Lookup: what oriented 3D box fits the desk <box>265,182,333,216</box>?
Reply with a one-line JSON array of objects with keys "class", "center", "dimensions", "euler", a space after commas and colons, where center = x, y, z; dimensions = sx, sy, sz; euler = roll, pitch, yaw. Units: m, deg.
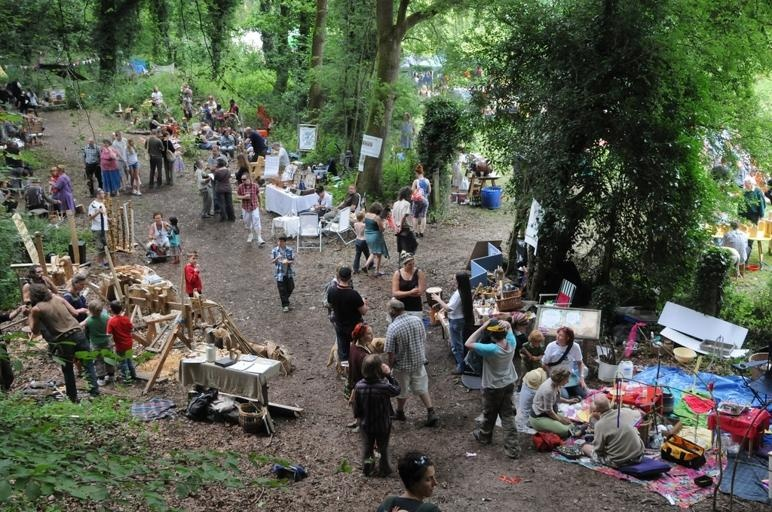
[{"class": "desk", "center": [-2.921, -1.863, 22.064], "dimensions": [1.227, 0.857, 1.764], "euler": [-16, 29, -37]}]

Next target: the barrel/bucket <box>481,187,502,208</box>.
[{"class": "barrel/bucket", "center": [4.031, -2.280, 25.315], "dimensions": [0.704, 0.640, 0.845], "euler": [-1, 8, 2]}]

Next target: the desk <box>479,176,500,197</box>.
[{"class": "desk", "center": [3.945, -2.723, 25.410], "dimensions": [0.858, 0.793, 0.841], "euler": [-1, 7, 2]}]

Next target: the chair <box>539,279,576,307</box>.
[{"class": "chair", "center": [4.033, 0.919, 15.544], "dimensions": [0.847, 0.604, 1.329], "euler": [7, 12, 16]}]

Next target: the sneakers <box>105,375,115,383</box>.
[{"class": "sneakers", "center": [-5.753, 2.544, 13.749], "dimensions": [0.218, 0.171, 0.215], "euler": [-2, 13, -20]}]

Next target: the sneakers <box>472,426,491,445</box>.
[{"class": "sneakers", "center": [1.774, 3.296, 12.180], "dimensions": [0.169, 0.193, 0.428], "euler": [-4, 15, -15]}]

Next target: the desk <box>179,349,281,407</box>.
[{"class": "desk", "center": [-3.031, 2.263, 12.765], "dimensions": [1.542, 0.488, 0.912], "euler": [7, 23, 14]}]

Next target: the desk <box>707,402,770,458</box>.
[{"class": "desk", "center": [6.225, 3.012, 11.758], "dimensions": [1.060, 0.503, 1.063], "euler": [1, 9, 31]}]

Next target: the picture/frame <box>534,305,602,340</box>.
[{"class": "picture/frame", "center": [3.821, 1.408, 13.923], "dimensions": [0.968, 0.063, 0.565], "euler": [5, 51, 21]}]

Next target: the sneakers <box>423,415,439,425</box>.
[{"class": "sneakers", "center": [0.858, 3.111, 12.567], "dimensions": [0.139, 0.193, 0.276], "euler": [-1, 2, -12]}]

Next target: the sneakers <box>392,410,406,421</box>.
[{"class": "sneakers", "center": [0.270, 3.034, 12.762], "dimensions": [0.275, 0.260, 0.144], "euler": [7, 16, 20]}]

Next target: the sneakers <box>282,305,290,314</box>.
[{"class": "sneakers", "center": [-2.516, 1.313, 16.670], "dimensions": [0.184, 0.167, 0.228], "euler": [2, 12, -4]}]

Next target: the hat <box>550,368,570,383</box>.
[{"class": "hat", "center": [3.227, 2.203, 12.285], "dimensions": [0.312, 0.250, 0.247], "euler": [-17, 8, 9]}]

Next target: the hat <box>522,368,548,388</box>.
[{"class": "hat", "center": [2.874, 2.318, 12.645], "dimensions": [0.409, 0.276, 0.280], "euler": [-26, 36, -17]}]

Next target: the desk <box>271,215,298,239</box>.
[{"class": "desk", "center": [-3.172, -0.946, 20.754], "dimensions": [0.764, 0.500, 0.762], "euler": [2, 4, 19]}]

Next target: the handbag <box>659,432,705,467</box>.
[{"class": "handbag", "center": [5.306, 3.357, 11.906], "dimensions": [0.623, 0.287, 0.749], "euler": [-16, -25, 15]}]

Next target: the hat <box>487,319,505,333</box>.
[{"class": "hat", "center": [1.953, 1.241, 11.745], "dimensions": [0.246, 0.183, 0.210], "euler": [-16, -3, 10]}]

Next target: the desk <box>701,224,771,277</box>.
[{"class": "desk", "center": [9.301, -0.182, 17.550], "dimensions": [0.868, 0.907, 1.275], "euler": [-15, 19, -24]}]
